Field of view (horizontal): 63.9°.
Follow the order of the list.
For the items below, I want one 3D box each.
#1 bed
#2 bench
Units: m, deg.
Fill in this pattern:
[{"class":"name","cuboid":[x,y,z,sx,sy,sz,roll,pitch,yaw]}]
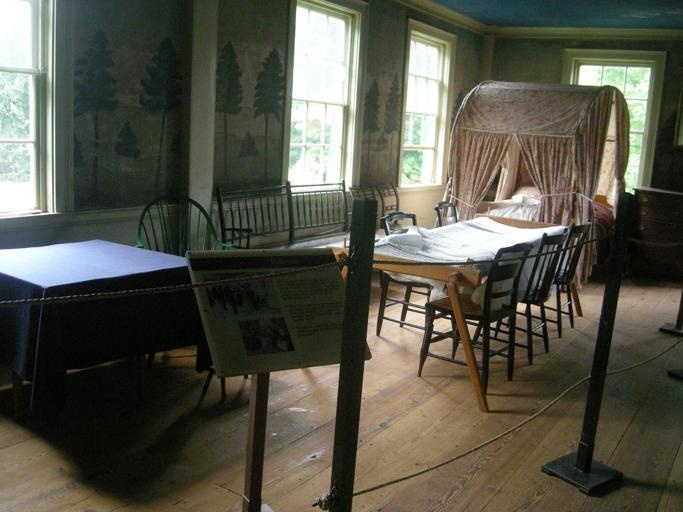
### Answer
[{"class":"bed","cuboid":[2.787,-1.264,8.248,2.675,3.153,2.421,9,18,30]},{"class":"bench","cuboid":[-0.576,-0.508,6.214,0.388,0.668,2.222,10,15,37]}]
